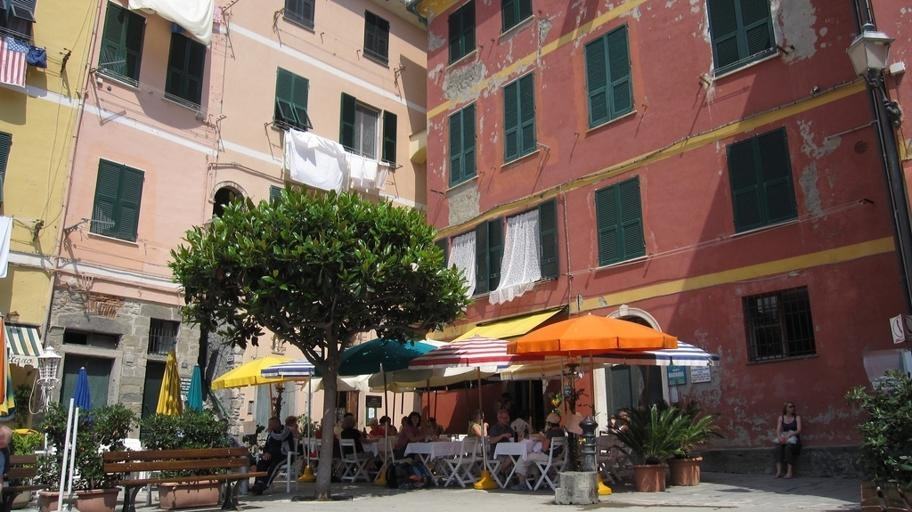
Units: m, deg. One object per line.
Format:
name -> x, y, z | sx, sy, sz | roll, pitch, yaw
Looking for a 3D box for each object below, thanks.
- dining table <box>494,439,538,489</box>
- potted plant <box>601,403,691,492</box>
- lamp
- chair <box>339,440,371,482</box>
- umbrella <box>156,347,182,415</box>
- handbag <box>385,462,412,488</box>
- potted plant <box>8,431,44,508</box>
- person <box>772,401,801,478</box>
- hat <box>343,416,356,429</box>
dining table -> 1.732, 5.346, 18.852 | 0.712, 0.758, 1.154 | -1, -61, 5
potted plant -> 4.745, 4.801, 19.244 | 2.047, 2.367, 2.159 | 0, -13, 11
lamp -> 9.942, -4.295, 17.832 | 0.984, 2.519, 0.957 | -3, -8, 0
chair -> -2.856, 5.812, 21.270 | 0.916, 1.168, 0.784 | 0, -8, 19
umbrella -> -8.479, 3.748, 22.396 | 0.655, 1.922, 0.697 | 5, -19, -20
handbag -> -1.549, 5.873, 20.071 | 0.714, 0.741, 0.533 | -1, -10, -3
potted plant -> -9.994, 4.906, 17.314 | 0.685, 1.876, 2.999 | 9, -22, -29
person -> 8.669, 4.791, 19.571 | 0.785, 1.876, 0.467 | -10, -20, 24
hat -> -3.014, 4.731, 21.316 | 0.283, 0.371, 0.384 | 6, -1, 6
